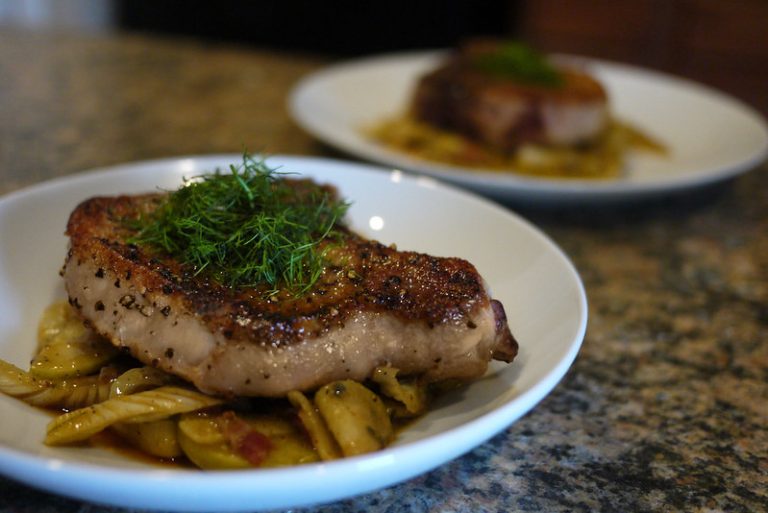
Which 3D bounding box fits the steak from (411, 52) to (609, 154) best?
[{"bbox_3d":[0.655,-0.787,3.931,0.800,0.245,0.581,13,23,-1],"label":"steak"}]
